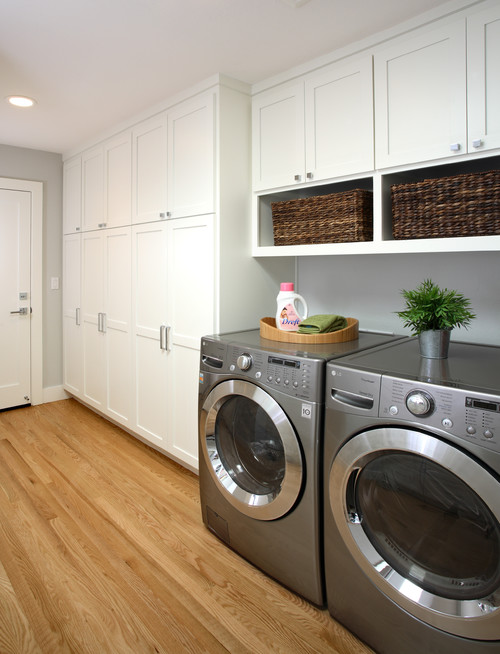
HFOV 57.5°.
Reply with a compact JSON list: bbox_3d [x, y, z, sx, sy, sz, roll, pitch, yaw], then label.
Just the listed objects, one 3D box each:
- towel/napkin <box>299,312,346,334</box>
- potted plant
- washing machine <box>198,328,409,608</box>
[{"bbox_3d":[0.273,-0.009,1.852,0.109,0.039,0.108,-3,7,35],"label":"towel/napkin"},{"bbox_3d":[0.607,-0.003,1.516,0.182,0.204,0.192,1,-8,-9],"label":"potted plant"},{"bbox_3d":[0.133,0.462,2.172,0.869,1.218,0.887,1,1,-37],"label":"washing machine"}]
